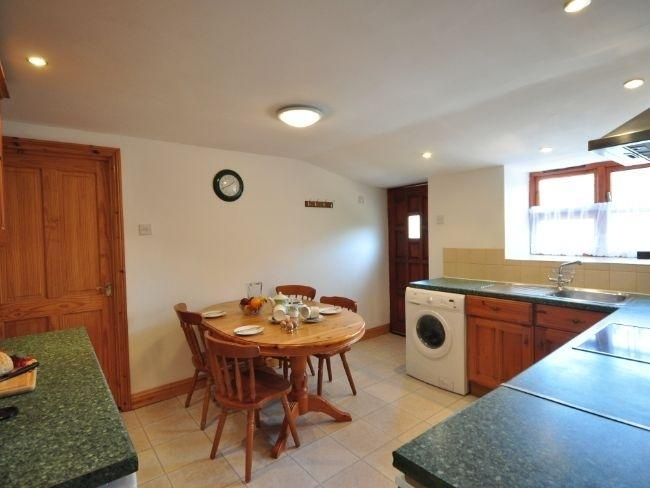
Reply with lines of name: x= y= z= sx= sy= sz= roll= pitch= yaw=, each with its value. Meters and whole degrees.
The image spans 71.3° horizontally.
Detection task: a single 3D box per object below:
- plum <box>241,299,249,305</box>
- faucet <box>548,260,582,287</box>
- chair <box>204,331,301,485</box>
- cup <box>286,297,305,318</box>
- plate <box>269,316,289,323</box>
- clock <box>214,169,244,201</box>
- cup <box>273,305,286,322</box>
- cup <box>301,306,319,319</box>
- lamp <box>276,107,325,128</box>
plum: x=-0.695 y=0.507 z=3.941 sx=0.054 sy=0.043 sz=0.061 roll=4 pitch=-9 yaw=-42
faucet: x=2.136 y=0.266 z=4.034 sx=0.274 sy=0.282 sz=0.214 roll=-8 pitch=10 yaw=-30
chair: x=-0.558 y=1.064 z=3.465 sx=0.689 sy=0.961 sz=0.944 roll=-4 pitch=11 yaw=-15
cup: x=-0.262 y=0.551 z=3.840 sx=0.096 sy=0.110 sz=0.152 roll=0 pitch=-1 yaw=-27
plate: x=-0.385 y=0.615 z=3.666 sx=0.112 sy=0.048 sz=0.067 roll=-6 pitch=-7 yaw=35
clock: x=-0.962 y=-0.577 z=4.486 sx=0.332 sy=0.306 sz=0.071 roll=-10 pitch=14 yaw=-42
cup: x=-0.367 y=0.567 z=3.701 sx=0.089 sy=0.122 sz=0.084 roll=13 pitch=-7 yaw=2
cup: x=-0.122 y=0.556 z=3.682 sx=0.102 sy=0.067 sz=0.106 roll=-1 pitch=-2 yaw=0
lamp: x=-0.201 y=-1.018 z=3.607 sx=0.355 sy=0.134 sz=0.281 roll=-1 pitch=10 yaw=-1
